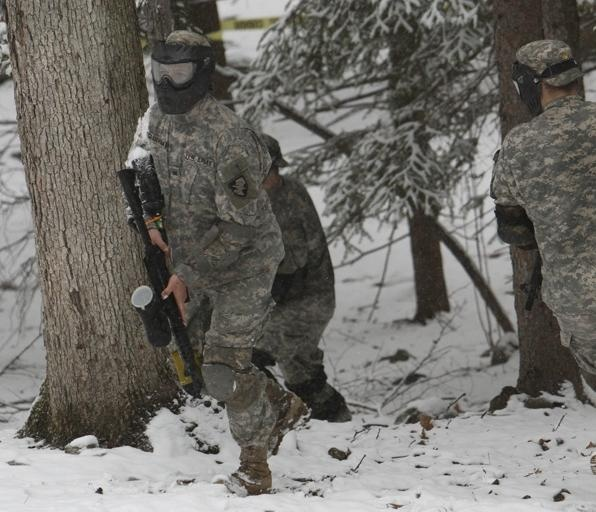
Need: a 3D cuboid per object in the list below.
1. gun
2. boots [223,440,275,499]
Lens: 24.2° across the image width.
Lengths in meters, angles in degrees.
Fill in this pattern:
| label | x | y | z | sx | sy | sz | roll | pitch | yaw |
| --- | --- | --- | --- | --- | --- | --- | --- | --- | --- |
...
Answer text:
| label | x | y | z | sx | sy | sz | roll | pitch | yaw |
| --- | --- | --- | --- | --- | --- | --- | --- | --- | --- |
| gun | -1.046 | 0.077 | 10.182 | 0.207 | 1.748 | 0.497 | -19 | 1 | 1 |
| boots | -0.352 | 1.551 | 9.894 | 0.381 | 0.368 | 0.265 | 3 | -7 | -4 |
